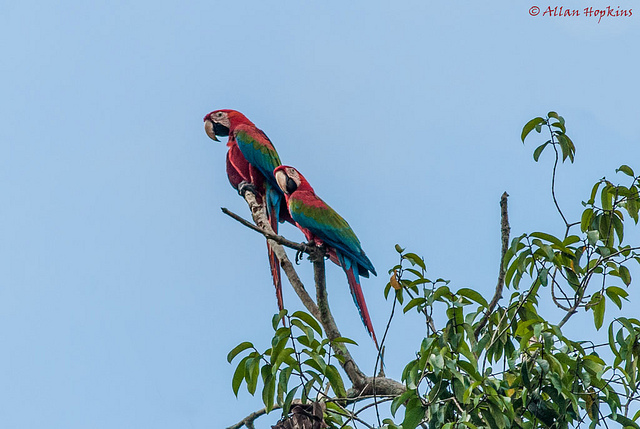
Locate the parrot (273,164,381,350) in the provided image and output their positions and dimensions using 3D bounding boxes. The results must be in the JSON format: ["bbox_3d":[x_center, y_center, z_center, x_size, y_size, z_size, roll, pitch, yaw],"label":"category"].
[{"bbox_3d":[0.034,0.256,7.923,0.650,1.358,0.611,0,-1,20],"label":"parrot"}]
